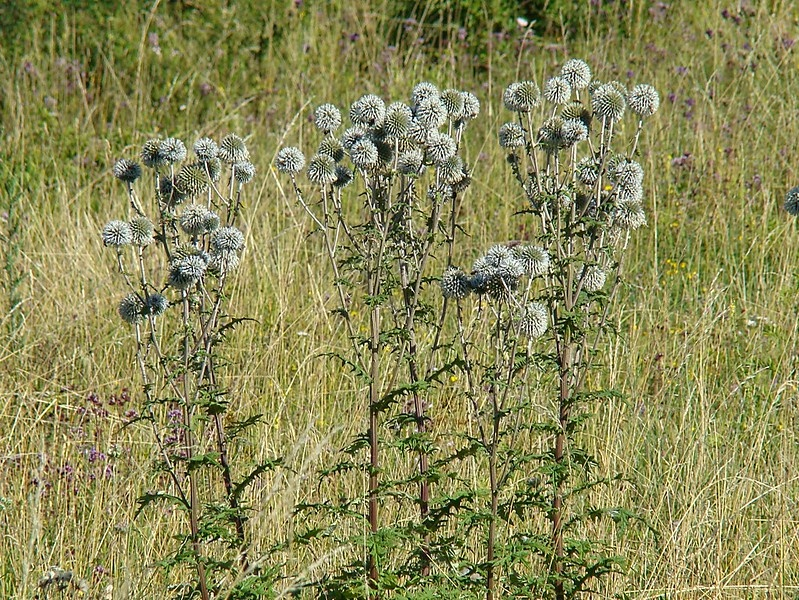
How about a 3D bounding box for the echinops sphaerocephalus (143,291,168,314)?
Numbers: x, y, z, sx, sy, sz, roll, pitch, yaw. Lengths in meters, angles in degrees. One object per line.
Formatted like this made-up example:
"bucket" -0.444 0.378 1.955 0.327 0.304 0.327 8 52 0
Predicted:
"echinops sphaerocephalus" -1.855 0.049 13.584 0.196 0.202 0.172 -8 20 -20
